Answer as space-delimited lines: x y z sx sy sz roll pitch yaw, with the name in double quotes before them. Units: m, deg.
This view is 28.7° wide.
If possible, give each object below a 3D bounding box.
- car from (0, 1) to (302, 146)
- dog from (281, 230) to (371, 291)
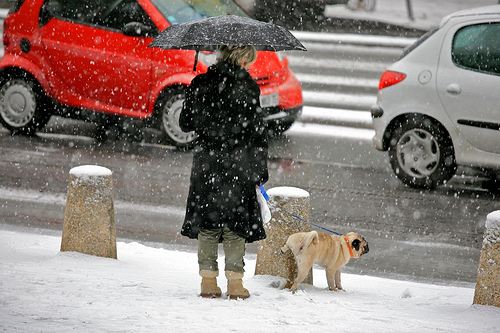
"car" -1.917 -1.924 18.605 4.398 2.947 2.877 5 11 20
"dog" 1.012 1.266 13.045 1.136 0.879 0.472 5 11 -6
